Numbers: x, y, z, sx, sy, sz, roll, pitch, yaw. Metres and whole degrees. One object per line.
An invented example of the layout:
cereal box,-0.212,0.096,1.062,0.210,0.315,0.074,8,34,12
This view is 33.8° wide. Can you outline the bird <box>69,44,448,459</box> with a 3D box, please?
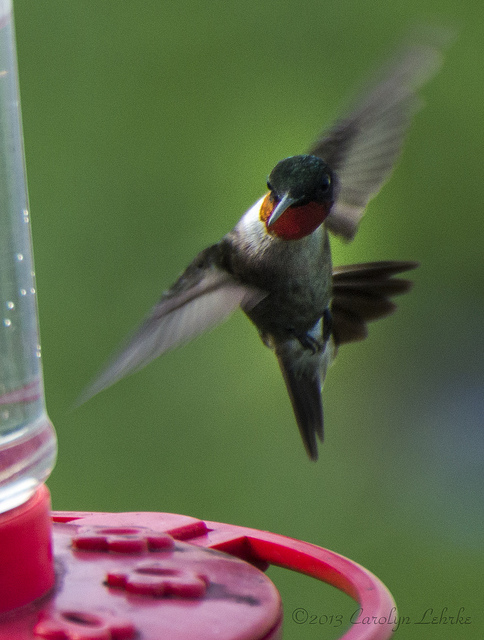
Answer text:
bird,0.038,-0.027,0.474,0.146,0.274,0.324,3,0,13
